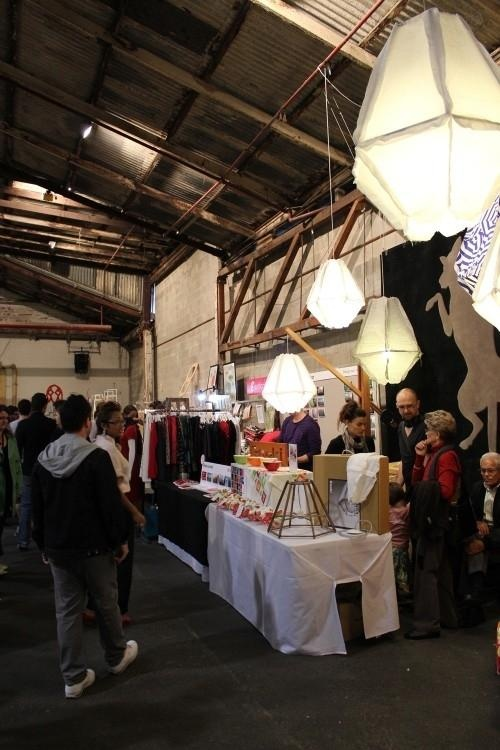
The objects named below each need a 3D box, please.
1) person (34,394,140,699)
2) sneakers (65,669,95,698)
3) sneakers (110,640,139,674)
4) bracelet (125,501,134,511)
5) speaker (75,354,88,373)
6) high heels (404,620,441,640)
[{"bbox_3d":[-0.762,0.748,2.540,0.414,1.307,0.411,0,-6,-22],"label":"person"},{"bbox_3d":[-0.753,1.358,2.506,0.057,0.069,0.160,1,0,10],"label":"sneakers"},{"bbox_3d":[-0.609,1.375,2.742,0.057,0.074,0.159,5,16,13],"label":"sneakers"},{"bbox_3d":[-0.658,0.721,3.076,0.034,0.048,0.046,-37,26,-13],"label":"bracelet"},{"bbox_3d":[-4.940,-0.345,16.506,0.432,0.623,0.464,0,-6,-21],"label":"speaker"},{"bbox_3d":[0.920,1.350,2.991,0.153,0.062,0.081,4,-11,5],"label":"high heels"}]
